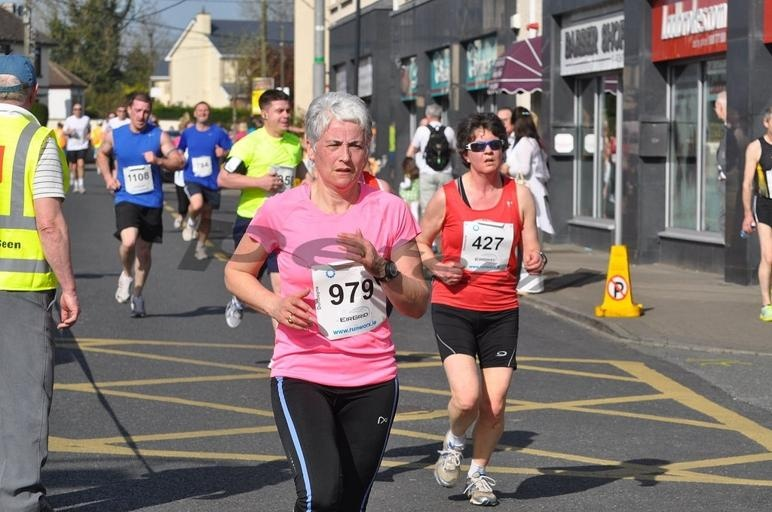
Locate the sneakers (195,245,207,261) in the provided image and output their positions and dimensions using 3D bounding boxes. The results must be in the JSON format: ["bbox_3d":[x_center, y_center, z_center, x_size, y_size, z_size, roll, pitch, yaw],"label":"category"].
[{"bbox_3d":[-3.018,-0.065,16.687,0.130,0.286,0.392,1,-4,-22],"label":"sneakers"}]

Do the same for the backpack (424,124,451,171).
[{"bbox_3d":[0.844,-1.747,16.553,0.415,0.642,0.647,-1,11,-8],"label":"backpack"}]

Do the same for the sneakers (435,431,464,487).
[{"bbox_3d":[0.445,1.445,7.206,0.201,0.438,0.203,1,8,3],"label":"sneakers"}]

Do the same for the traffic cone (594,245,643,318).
[{"bbox_3d":[2.706,0.278,12.392,0.751,1.048,0.642,-1,8,8],"label":"traffic cone"}]

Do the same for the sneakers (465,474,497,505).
[{"bbox_3d":[0.667,1.612,7.111,0.232,0.197,0.267,1,9,5],"label":"sneakers"}]

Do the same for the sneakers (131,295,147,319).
[{"bbox_3d":[-2.974,0.564,12.137,0.118,0.143,0.335,-1,13,-13],"label":"sneakers"}]

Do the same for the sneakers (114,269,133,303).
[{"bbox_3d":[-3.272,0.381,12.639,0.136,0.431,0.167,13,-32,-30],"label":"sneakers"}]
